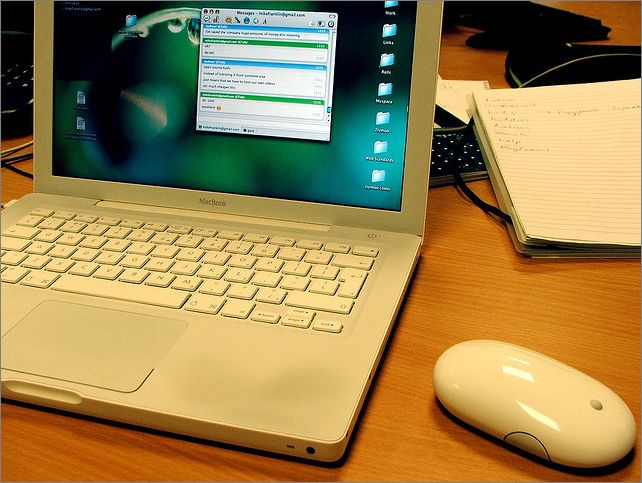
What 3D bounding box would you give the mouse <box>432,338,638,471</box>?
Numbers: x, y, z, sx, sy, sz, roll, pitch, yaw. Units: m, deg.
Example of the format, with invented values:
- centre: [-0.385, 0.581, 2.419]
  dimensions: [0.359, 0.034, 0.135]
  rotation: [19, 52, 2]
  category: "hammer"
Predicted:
- centre: [0.166, 0.129, 0.422]
  dimensions: [0.143, 0.035, 0.080]
  rotation: [17, 50, 27]
  category: "mouse"
